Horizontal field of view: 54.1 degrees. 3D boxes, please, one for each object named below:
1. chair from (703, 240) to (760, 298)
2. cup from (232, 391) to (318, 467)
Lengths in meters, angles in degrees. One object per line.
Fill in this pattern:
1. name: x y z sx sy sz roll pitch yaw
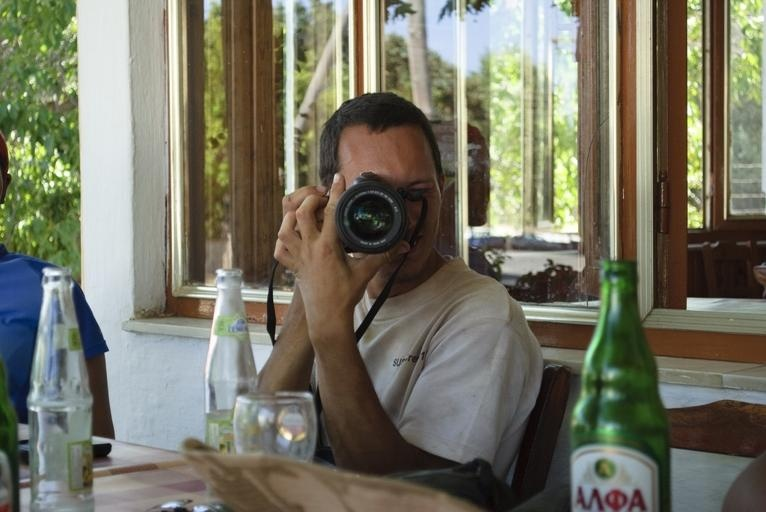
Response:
1. chair: 1.430 0.060 3.064 0.144 0.287 0.170 -1 -18 14
2. cup: -0.206 0.317 1.446 0.126 0.144 0.131 2 -7 0
